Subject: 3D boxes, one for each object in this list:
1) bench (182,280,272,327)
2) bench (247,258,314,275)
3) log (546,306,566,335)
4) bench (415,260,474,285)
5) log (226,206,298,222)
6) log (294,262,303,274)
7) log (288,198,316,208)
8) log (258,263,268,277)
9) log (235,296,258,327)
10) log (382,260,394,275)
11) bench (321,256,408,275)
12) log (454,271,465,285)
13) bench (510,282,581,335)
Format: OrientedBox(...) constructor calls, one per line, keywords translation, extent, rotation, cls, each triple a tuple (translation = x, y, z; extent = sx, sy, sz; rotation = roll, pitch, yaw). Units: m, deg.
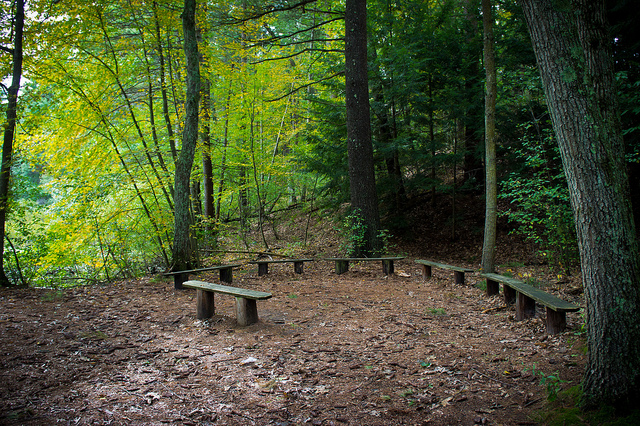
OrientedBox(translation=(-1.968, 1.876, 12.184), extent=(2.139, 0.627, 0.560), rotation=(3, 7, 32), cls="bench")
OrientedBox(translation=(-1.198, 1.414, 15.996), extent=(1.535, 0.385, 1.421), rotation=(-2, 1, -14), cls="bench")
OrientedBox(translation=(4.456, 2.008, 11.051), extent=(0.343, 0.538, 0.150), rotation=(-2, 3, 14), cls="log")
OrientedBox(translation=(3.078, 1.438, 14.352), extent=(0.660, 0.505, 1.735), rotation=(-3, 2, -29), cls="bench")
OrientedBox(translation=(-2.517, 0.026, 24.362), extent=(1.958, 0.513, 2.909), rotation=(-1, 1, 26), cls="log")
OrientedBox(translation=(-0.591, 1.458, 15.668), extent=(0.294, 0.249, 0.274), rotation=(0, -8, 12), cls="log")
OrientedBox(translation=(-0.984, -0.405, 24.884), extent=(0.549, 0.313, 2.465), rotation=(-3, 2, -26), cls="log")
OrientedBox(translation=(-1.545, 1.511, 15.607), extent=(0.353, 0.293, 0.334), rotation=(0, 3, -2), cls="log")
OrientedBox(translation=(-1.500, 1.974, 11.894), extent=(0.410, 0.594, 0.214), rotation=(-3, 3, -8), cls="log")
OrientedBox(translation=(1.773, 1.400, 15.305), extent=(0.289, 0.360, 0.303), rotation=(-2, 2, 4), cls="log")
OrientedBox(translation=(1.187, 1.362, 15.887), extent=(2.406, 0.450, 1.384), rotation=(-2, 1, 21), cls="bench")
OrientedBox(translation=(3.324, 1.533, 14.002), extent=(0.234, 0.313, 0.324), rotation=(-2, 2, 13), cls="log")
OrientedBox(translation=(4.365, 1.845, 11.385), extent=(0.653, 0.825, 1.344), rotation=(-3, 2, -10), cls="bench")
